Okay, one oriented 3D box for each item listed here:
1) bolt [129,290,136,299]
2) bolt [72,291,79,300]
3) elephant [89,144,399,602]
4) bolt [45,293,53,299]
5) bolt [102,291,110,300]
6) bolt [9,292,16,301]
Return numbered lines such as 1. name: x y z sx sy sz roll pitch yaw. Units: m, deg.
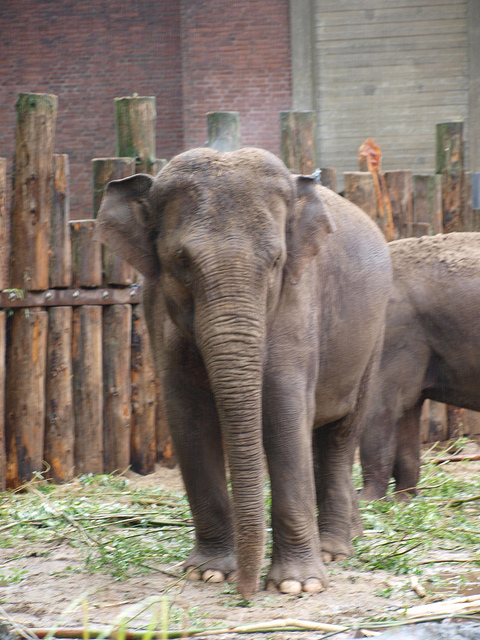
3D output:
1. bolt: -0.514 -0.130 5.746 0.027 0.034 0.011 9 10 2
2. bolt: -0.763 -0.125 5.595 0.021 0.031 0.020 -3 48 -10
3. elephant: 0.110 0.148 4.186 0.615 1.473 0.978 1 5 40
4. bolt: -0.876 -0.119 5.520 0.026 0.019 0.038 -1 -10 -10
5. bolt: -0.636 -0.125 5.686 0.039 0.032 0.033 1 -10 -22
6. bolt: -1.024 -0.115 5.425 0.030 0.038 0.009 3 -4 -14
